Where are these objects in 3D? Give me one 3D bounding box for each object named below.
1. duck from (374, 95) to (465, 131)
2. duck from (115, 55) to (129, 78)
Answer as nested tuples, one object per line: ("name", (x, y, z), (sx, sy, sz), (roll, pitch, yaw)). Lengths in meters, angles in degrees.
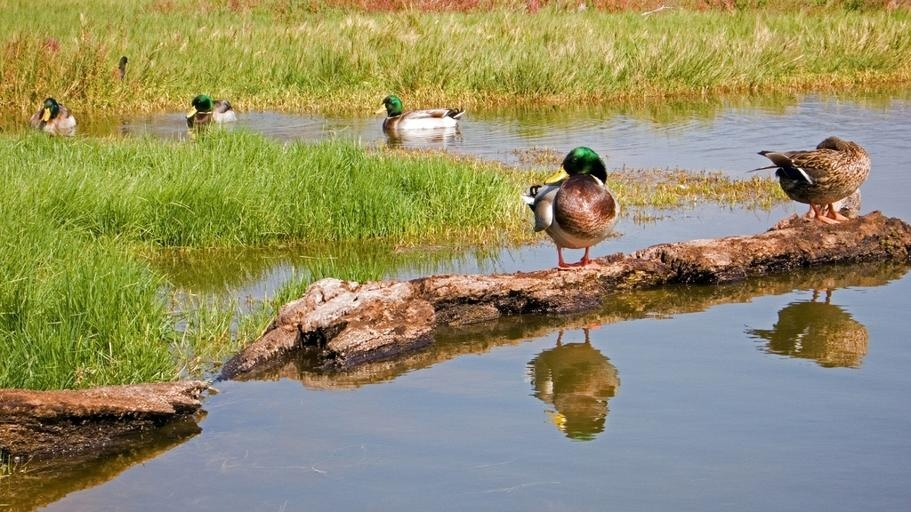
("duck", (-1.036, -3.829, 30.124), (2.296, 1.036, 0.992), (1, -5, -6))
("duck", (-9.778, -5.495, 32.053), (0.256, 0.672, 0.426), (0, -9, -32))
